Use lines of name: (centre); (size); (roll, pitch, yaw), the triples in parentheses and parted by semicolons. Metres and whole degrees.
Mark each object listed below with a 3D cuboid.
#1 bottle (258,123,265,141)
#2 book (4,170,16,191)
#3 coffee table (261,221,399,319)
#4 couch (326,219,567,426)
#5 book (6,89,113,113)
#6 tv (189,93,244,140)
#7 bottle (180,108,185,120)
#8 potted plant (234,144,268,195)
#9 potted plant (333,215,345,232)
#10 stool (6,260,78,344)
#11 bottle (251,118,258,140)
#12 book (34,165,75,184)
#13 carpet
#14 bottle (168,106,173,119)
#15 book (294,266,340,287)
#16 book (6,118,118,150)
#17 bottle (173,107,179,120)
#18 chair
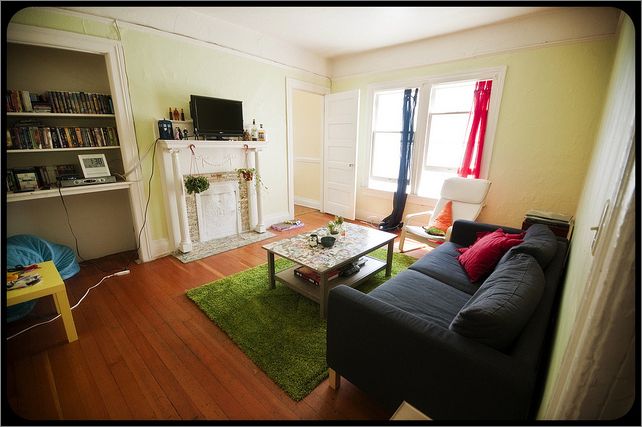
bottle: (-0.870, -1.190, 5.598); (0.093, 0.230, 0.258); (-2, 14, -9)
book: (-3.178, -0.339, 3.928); (0.085, 0.227, 0.072); (-11, 19, -36)
coffee table: (0.166, 0.546, 4.422); (0.922, 0.503, 1.286); (14, 22, 39)
couch: (1.149, 0.847, 3.390); (1.513, 1.226, 1.730); (10, 16, 33)
book: (-2.840, -1.218, 4.197); (0.969, 0.250, 0.197); (-8, 17, -33)
tv: (-1.361, -1.233, 5.064); (0.178, 0.556, 0.823); (9, 15, 35)
bottle: (-1.760, -1.258, 4.864); (0.035, 0.133, 0.086); (3, 15, 10)
potted plant: (-1.057, -0.716, 5.513); (0.480, 0.486, 0.370); (-4, 5, -14)
potted plant: (0.229, 0.124, 4.485); (0.156, 0.159, 0.148); (0, 10, 6)
stool: (-2.616, 0.857, 3.570); (0.443, 0.673, 0.527); (-12, 19, -40)
bottle: (-0.961, -1.209, 5.528); (0.104, 0.298, 0.199); (-2, 15, -9)
book: (-2.983, -0.446, 4.250); (0.070, 0.251, 0.293); (1, 12, 41)
carpet: (-0.561, 1.083, 3.808); (1.494, 0.022, 1.061); (-19, 30, -41)
bottle: (-1.862, -1.242, 4.756); (0.054, 0.152, 0.099); (-3, 15, -13)
book: (-0.111, 0.657, 4.089); (0.266, 0.058, 0.258); (-14, 21, -38)
book: (-2.822, -0.836, 4.230); (1.028, 0.236, 0.151); (-12, 19, -43)
bottle: (-1.810, -1.241, 4.797); (0.066, 0.147, 0.114); (-3, 15, -14)
chair: (1.594, 0.089, 4.993); (0.977, 1.004, 0.736); (-9, 18, -37)
